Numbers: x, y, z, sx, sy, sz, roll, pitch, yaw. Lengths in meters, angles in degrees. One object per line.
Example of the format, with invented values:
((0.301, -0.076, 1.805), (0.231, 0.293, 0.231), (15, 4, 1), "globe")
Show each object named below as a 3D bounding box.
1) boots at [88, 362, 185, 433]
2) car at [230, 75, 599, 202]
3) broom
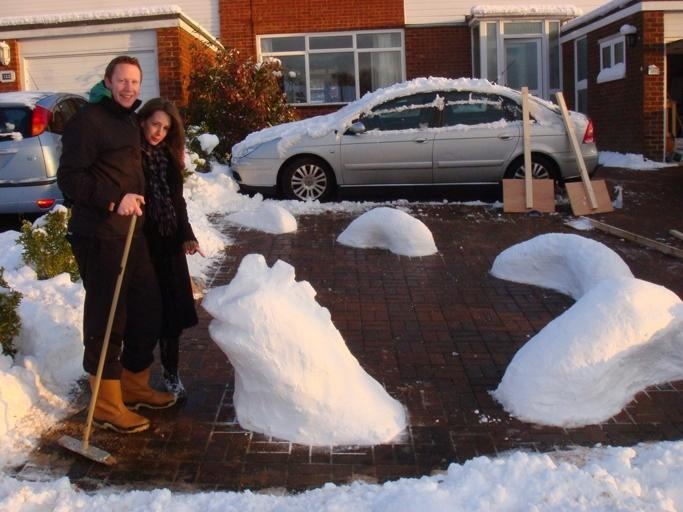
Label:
((-1.452, 0.979, 4.127), (0.361, 0.421, 0.527), (6, 12, 3), "boots")
((1.129, -1.981, 10.765), (5.550, 1.970, 2.469), (2, 7, 2), "car")
((-1.573, 0.482, 3.820), (0.481, 1.436, 0.632), (3, 16, 12), "broom")
